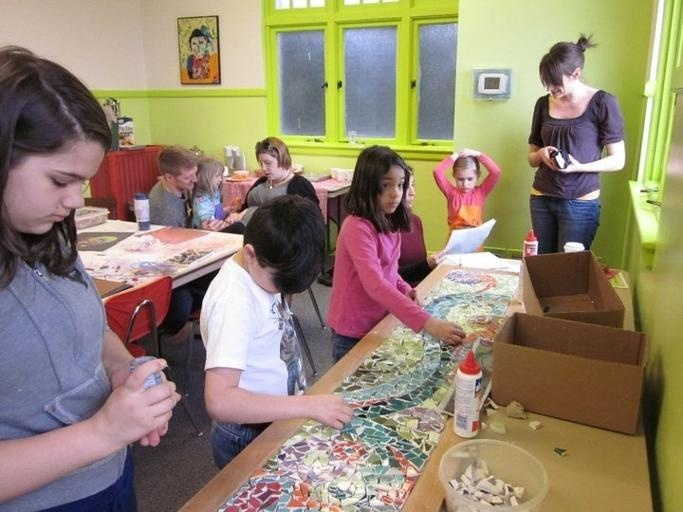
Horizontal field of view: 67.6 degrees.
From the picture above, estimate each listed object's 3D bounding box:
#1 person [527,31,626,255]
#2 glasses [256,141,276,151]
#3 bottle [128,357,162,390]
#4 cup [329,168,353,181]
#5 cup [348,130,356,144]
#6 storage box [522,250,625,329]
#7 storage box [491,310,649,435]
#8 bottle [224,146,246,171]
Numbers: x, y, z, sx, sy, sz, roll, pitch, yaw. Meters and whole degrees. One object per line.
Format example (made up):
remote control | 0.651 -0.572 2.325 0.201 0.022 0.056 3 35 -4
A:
person | 1.500 -0.651 3.279 0.568 1.340 0.426 4 18 20
glasses | -0.571 -0.830 3.827 0.113 0.037 0.104 10 -4 -44
bottle | -0.415 0.240 1.082 0.051 0.073 0.027 -3 4 7
cup | 0.000 -0.810 5.141 0.211 0.124 0.276 1 7 7
cup | 0.103 -1.226 5.254 0.115 0.139 0.115 -1 5 0
storage box | 0.828 0.119 1.791 0.249 0.130 0.344 -10 18 11
storage box | 0.626 0.218 1.345 0.394 0.207 0.285 7 18 26
bottle | -1.178 -1.071 5.622 0.307 0.338 0.203 -3 13 -16
